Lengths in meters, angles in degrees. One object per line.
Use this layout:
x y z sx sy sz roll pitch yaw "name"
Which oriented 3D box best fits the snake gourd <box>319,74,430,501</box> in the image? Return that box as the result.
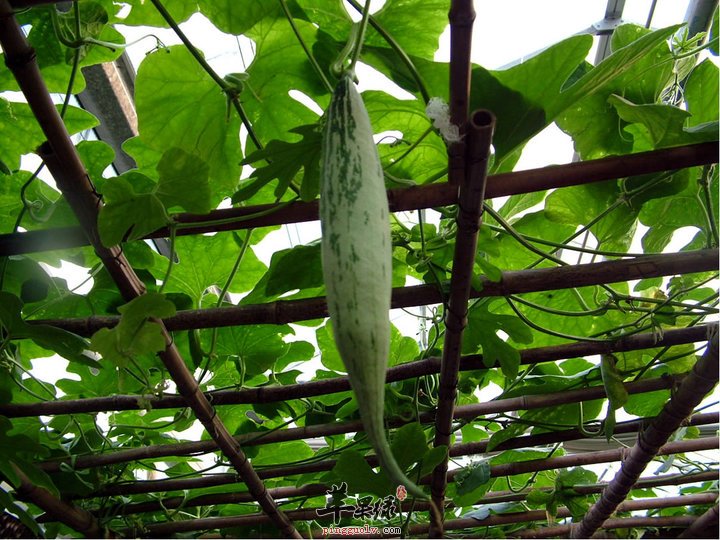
-0.016 -0.009 1.308 0.128 0.791 0.129 8 -25 -44 "snake gourd"
